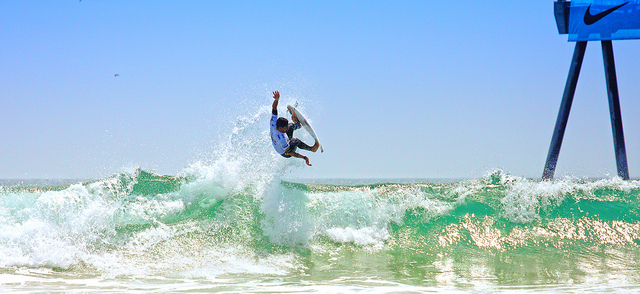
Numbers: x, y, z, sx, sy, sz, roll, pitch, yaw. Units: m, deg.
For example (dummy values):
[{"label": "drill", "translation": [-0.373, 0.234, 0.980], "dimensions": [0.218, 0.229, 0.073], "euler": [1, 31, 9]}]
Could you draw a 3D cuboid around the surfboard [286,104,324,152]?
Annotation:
[{"label": "surfboard", "translation": [-0.771, -0.564, 22.414], "dimensions": [0.333, 2.768, 0.471], "euler": [-19, -30, -55]}]
